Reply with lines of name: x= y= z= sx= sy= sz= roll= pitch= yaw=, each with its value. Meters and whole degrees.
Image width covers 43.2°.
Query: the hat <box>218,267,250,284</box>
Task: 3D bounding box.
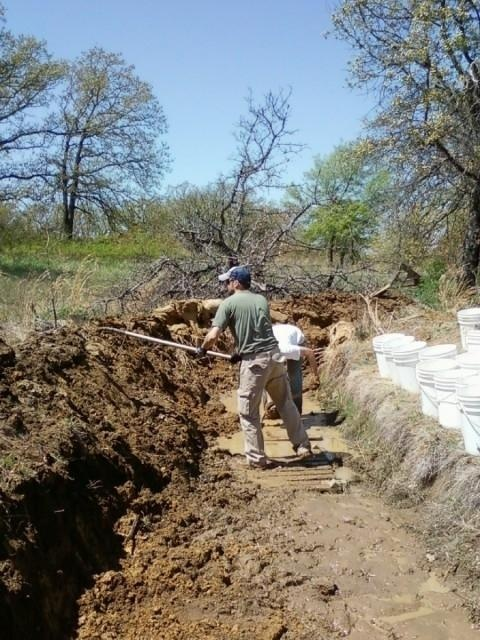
hat: x=-0.050 y=-0.429 z=5.698 sx=0.266 sy=0.136 sz=0.169 roll=2 pitch=7 yaw=16

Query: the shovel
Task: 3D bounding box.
shovel: x=-1.072 y=0.222 z=7.344 sx=1.610 sy=0.127 sz=0.325 roll=14 pitch=-32 yaw=5

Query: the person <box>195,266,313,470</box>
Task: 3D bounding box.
person: x=0.089 y=0.426 z=5.769 sx=0.907 sy=1.833 sz=0.770 roll=-7 pitch=2 yaw=-29

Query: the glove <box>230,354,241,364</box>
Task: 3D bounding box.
glove: x=-0.033 y=0.355 z=5.559 sx=0.094 sy=0.079 sz=0.087 roll=1 pitch=1 yaw=11

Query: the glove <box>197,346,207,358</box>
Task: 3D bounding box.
glove: x=-0.343 y=0.289 z=5.509 sx=0.073 sy=0.098 sz=0.104 roll=1 pitch=-6 yaw=2
